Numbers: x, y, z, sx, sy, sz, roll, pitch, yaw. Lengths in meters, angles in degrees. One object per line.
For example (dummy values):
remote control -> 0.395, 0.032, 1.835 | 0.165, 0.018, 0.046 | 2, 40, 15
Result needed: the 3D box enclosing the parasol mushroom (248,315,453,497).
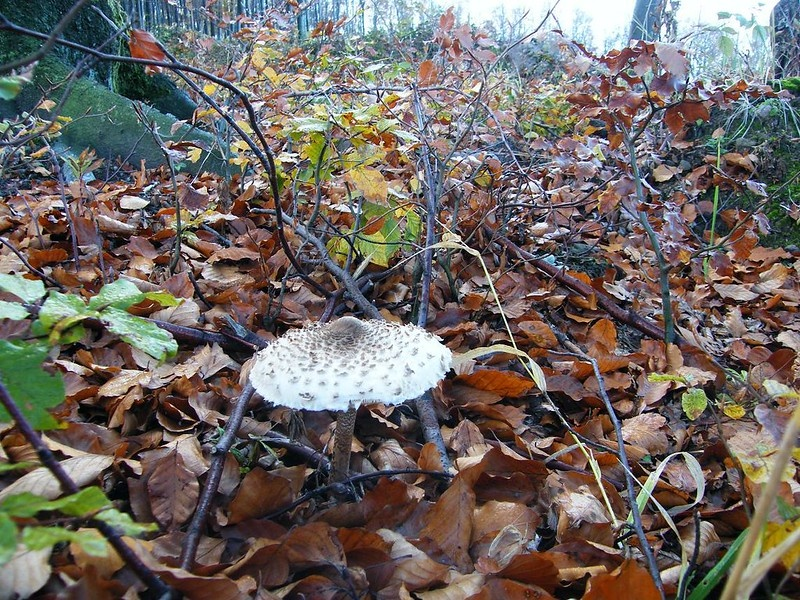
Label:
parasol mushroom -> -0.218, 0.421, 2.405 | 0.881, 0.667, 0.769 | 4, 17, 15
